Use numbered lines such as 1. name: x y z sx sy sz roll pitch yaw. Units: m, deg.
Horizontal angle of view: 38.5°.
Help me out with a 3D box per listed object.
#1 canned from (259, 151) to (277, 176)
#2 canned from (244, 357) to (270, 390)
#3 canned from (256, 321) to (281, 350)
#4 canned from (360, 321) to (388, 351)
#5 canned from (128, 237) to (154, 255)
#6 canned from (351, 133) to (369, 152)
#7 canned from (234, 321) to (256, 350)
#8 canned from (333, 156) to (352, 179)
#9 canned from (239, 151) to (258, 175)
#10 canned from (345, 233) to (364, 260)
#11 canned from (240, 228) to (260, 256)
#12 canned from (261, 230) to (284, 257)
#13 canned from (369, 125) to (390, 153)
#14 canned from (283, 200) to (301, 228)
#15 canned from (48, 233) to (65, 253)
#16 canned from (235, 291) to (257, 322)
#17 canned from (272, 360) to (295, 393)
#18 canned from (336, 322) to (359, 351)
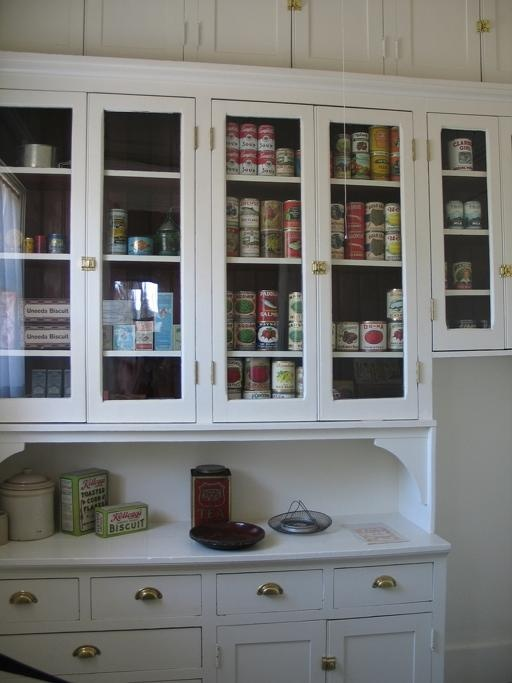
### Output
1. canned: 0.034 -0.560 2.322 0.073 0.072 0.070 -1 4 -21
2. canned: 0.003 0.103 2.296 0.100 0.100 0.094 2 -6 3
3. canned: 0.038 -0.014 2.249 0.082 0.084 0.080 -1 2 -39
4. canned: 0.375 -0.018 2.394 0.094 0.096 0.094 -5 -7 41
5. canned: -0.354 -0.294 2.246 0.063 0.041 0.062 7 7 42
6. canned: 0.334 -0.645 2.363 0.063 0.060 0.060 0 3 -7
7. canned: -0.034 -0.015 2.246 0.086 0.085 0.081 1 -4 -4
8. canned: 0.276 -0.553 2.354 0.066 0.066 0.064 0 -4 18
9. canned: -0.027 -0.563 2.312 0.077 0.076 0.073 0 1 -11
10. canned: 0.315 -0.310 2.413 0.085 0.084 0.081 1 -2 -5
11. canned: -0.025 -0.311 2.311 0.085 0.086 0.080 1 -4 -2
12. canned: 0.050 -0.307 2.320 0.083 0.082 0.079 1 5 6
13. canned: 0.395 -0.656 2.372 0.080 0.078 0.076 0 2 2
14. canned: 0.112 -0.415 2.375 0.080 0.077 0.076 -1 2 -12
15. canned: -0.603 -0.297 2.214 0.059 0.059 0.057 0 2 -17
16. canned: -0.032 -0.115 2.368 0.086 0.142 0.086 -1 -1 -2
17. canned: 0.087 0.107 2.253 0.100 0.100 0.095 -1 -6 4
18. canned: 0.288 -0.015 2.284 0.093 0.092 0.088 1 -3 -3
